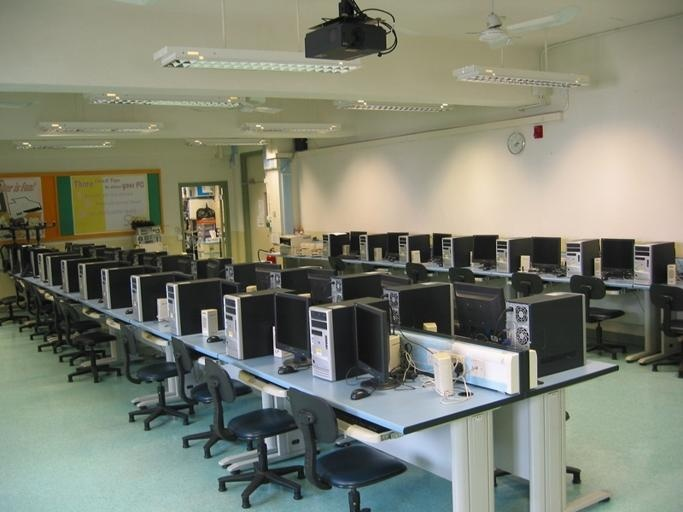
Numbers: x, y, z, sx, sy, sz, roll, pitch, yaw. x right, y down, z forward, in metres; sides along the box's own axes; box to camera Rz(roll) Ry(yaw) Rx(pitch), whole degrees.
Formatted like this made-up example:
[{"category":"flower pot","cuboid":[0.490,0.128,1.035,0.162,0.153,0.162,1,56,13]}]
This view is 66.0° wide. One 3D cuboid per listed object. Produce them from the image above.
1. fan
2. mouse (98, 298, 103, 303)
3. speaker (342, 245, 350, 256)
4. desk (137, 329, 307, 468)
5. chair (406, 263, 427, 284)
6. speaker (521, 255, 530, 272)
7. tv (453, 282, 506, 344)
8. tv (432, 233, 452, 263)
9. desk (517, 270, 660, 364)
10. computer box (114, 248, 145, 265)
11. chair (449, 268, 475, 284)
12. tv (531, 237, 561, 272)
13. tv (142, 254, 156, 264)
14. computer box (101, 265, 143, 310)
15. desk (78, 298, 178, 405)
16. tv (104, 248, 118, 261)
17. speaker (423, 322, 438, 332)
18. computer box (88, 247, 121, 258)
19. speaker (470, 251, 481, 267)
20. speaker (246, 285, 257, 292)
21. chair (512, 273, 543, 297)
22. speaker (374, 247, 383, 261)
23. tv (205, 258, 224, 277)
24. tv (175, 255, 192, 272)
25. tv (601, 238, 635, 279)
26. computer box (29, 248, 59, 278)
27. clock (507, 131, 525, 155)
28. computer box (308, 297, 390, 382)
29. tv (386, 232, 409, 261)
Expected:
[{"category":"fan","cuboid":[1.621,-2.647,6.025,1.122,0.315,1.096,2,7,3]},{"category":"mouse","cuboid":[-3.311,0.609,7.203,0.068,0.039,0.021,-29,-33,23]},{"category":"speaker","cuboid":[0.097,-0.114,10.373,0.159,0.206,0.150,-7,11,-12]},{"category":"desk","cuboid":[-0.889,0.984,4.507,1.849,0.735,1.122,9,7,43]},{"category":"chair","cuboid":[1.130,0.262,7.903,0.250,0.260,0.276,-14,19,-43]},{"category":"speaker","cuboid":[2.619,0.103,7.462,0.152,0.203,0.173,-1,11,15]},{"category":"tv","cuboid":[1.031,0.435,3.933,0.153,0.353,0.420,-16,19,-41]},{"category":"tv","cuboid":[1.652,-0.116,8.576,0.079,0.612,0.549,-2,4,-36]},{"category":"desk","cuboid":[3.293,0.741,6.516,1.039,0.922,1.665,-2,3,-45]},{"category":"computer box","cuboid":[-3.472,0.018,8.585,0.337,0.192,0.177,0,-1,40]},{"category":"chair","cuboid":[1.672,0.279,7.280,0.202,0.191,0.210,10,14,41]},{"category":"tv","cuboid":[2.884,-0.010,7.367,0.188,0.402,0.568,-4,1,-39]},{"category":"tv","cuboid":[-2.897,0.052,7.917,0.185,0.141,0.249,-8,12,-42]},{"category":"computer box","cuboid":[-2.622,0.399,6.648,0.654,0.612,0.372,-4,6,-36]},{"category":"desk","cuboid":[-2.472,1.116,6.086,0.835,0.525,1.245,8,10,-46]},{"category":"tv","cuboid":[-4.041,-0.014,9.226,0.141,0.196,0.243,3,4,32]},{"category":"speaker","cuboid":[0.658,0.523,3.878,0.108,0.059,0.068,-1,-3,-13]},{"category":"computer box","cuboid":[-4.259,-0.059,9.505,0.539,0.227,0.429,1,4,14]},{"category":"speaker","cuboid":[2.124,0.051,8.227,0.064,0.199,0.246,-9,10,-42]},{"category":"speaker","cuboid":[-0.938,0.344,5.464,0.102,0.057,0.052,1,-6,-43]},{"category":"chair","cuboid":[2.337,0.354,6.569,0.334,0.303,0.320,-10,13,-42]},{"category":"speaker","cuboid":[0.692,-0.040,9.696,0.139,0.219,0.215,5,14,42]},{"category":"tv","cuboid":[-1.633,0.163,6.738,0.178,0.271,0.197,-13,21,-43]},{"category":"tv","cuboid":[-2.181,0.106,7.269,0.136,0.210,0.265,2,0,-41]},{"category":"tv","cuboid":[3.506,0.037,6.637,0.189,0.344,0.552,-1,6,-43]},{"category":"computer box","cuboid":[-5.307,0.139,9.367,0.451,0.506,0.604,4,4,35]},{"category":"clock","cuboid":[2.718,-1.739,8.155,0.053,0.358,0.320,-13,14,-33]},{"category":"computer box","cuboid":[0.092,0.604,3.879,0.567,0.443,0.309,-4,1,-30]},{"category":"tv","cuboid":[1.004,-0.161,9.358,0.087,0.440,0.575,3,-2,-25]}]
